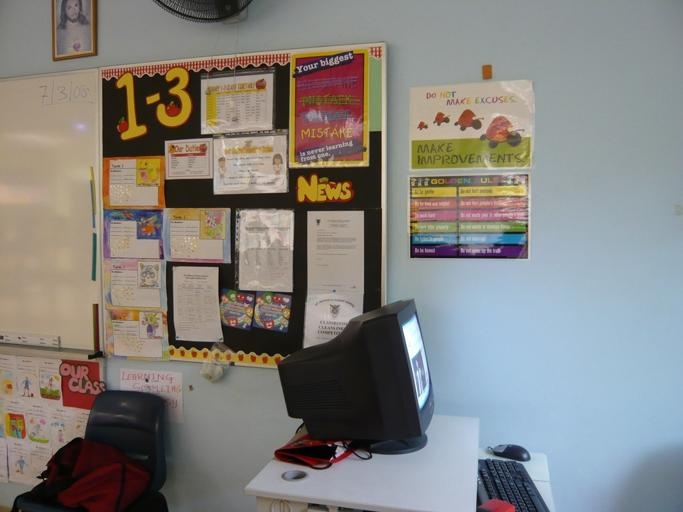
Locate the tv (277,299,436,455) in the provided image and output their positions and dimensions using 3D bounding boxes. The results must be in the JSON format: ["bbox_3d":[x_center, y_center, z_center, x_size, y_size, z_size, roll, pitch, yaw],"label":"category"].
[{"bbox_3d":[0.098,0.465,2.465,0.600,0.578,0.615,-2,1,11],"label":"tv"}]

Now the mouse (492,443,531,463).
[{"bbox_3d":[0.786,0.893,2.514,0.117,0.039,0.075,4,4,35],"label":"mouse"}]
